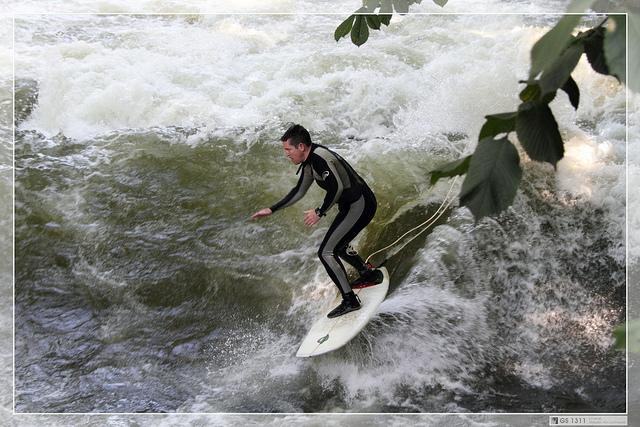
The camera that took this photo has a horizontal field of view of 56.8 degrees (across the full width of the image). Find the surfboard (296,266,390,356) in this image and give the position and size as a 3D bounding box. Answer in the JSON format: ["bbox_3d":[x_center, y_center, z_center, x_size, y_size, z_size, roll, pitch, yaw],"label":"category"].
[{"bbox_3d":[0.386,1.162,6.554,0.619,0.196,1.343,-14,25,49],"label":"surfboard"}]

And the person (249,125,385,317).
[{"bbox_3d":[0.147,0.061,6.424,0.875,1.734,1.473,-26,52,-25],"label":"person"}]
